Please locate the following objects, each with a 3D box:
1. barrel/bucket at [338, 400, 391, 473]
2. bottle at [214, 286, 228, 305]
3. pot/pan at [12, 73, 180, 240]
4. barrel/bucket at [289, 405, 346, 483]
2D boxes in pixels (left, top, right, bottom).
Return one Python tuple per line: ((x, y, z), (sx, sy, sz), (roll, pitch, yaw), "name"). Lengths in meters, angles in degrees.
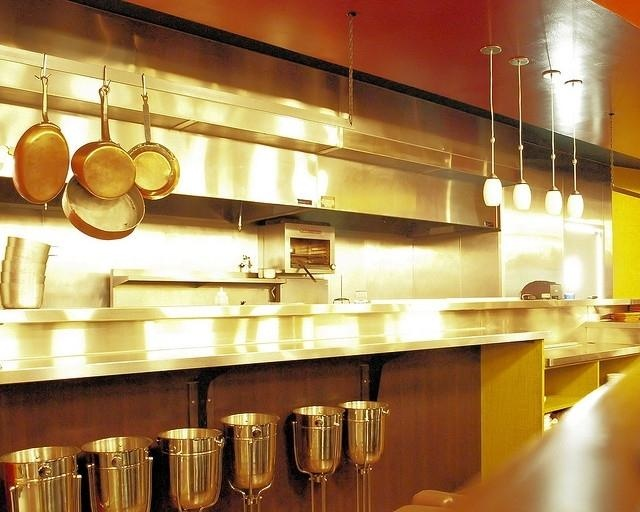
((0.206, 0.939, 3.320), (0.270, 0.354, 0.206), (12, 9, 41), "barrel/bucket")
((-0.801, 0.334, 5.229), (0.118, 0.133, 0.118), (0, -8, -4), "bottle")
((-1.033, -0.495, 3.075), (0.410, 0.805, 0.723), (10, 7, 29), "pot/pan")
((0.008, 0.908, 3.172), (0.339, 0.344, 0.326), (0, -2, 0), "barrel/bucket")
